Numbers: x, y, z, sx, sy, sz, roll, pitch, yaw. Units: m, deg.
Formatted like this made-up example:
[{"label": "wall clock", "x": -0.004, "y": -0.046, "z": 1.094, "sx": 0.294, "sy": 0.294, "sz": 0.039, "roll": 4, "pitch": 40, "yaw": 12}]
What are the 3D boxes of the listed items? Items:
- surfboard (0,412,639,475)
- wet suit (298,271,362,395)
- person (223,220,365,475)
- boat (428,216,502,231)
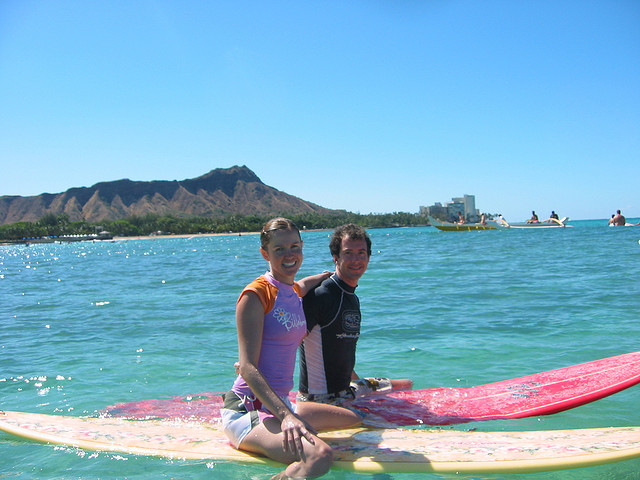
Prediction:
[{"label": "surfboard", "x": -0.078, "y": 1.933, "z": 4.896, "sx": 5.232, "sy": 0.357, "sz": 0.729, "roll": 0, "pitch": -3, "yaw": -2}, {"label": "wet suit", "x": 0.087, "y": 0.967, "z": 5.355, "sx": 0.632, "sy": 1.250, "sz": 0.425, "roll": 0, "pitch": -4, "yaw": -3}, {"label": "person", "x": -0.379, "y": 0.934, "z": 4.724, "sx": 1.039, "sy": 2.217, "sz": 0.982, "roll": -1, "pitch": -4, "yaw": 0}, {"label": "boat", "x": 18.837, "y": -1.959, "z": 68.007, "sx": 3.505, "sy": 1.882, "sz": 9.202, "roll": 2, "pitch": -5, "yaw": -36}]
